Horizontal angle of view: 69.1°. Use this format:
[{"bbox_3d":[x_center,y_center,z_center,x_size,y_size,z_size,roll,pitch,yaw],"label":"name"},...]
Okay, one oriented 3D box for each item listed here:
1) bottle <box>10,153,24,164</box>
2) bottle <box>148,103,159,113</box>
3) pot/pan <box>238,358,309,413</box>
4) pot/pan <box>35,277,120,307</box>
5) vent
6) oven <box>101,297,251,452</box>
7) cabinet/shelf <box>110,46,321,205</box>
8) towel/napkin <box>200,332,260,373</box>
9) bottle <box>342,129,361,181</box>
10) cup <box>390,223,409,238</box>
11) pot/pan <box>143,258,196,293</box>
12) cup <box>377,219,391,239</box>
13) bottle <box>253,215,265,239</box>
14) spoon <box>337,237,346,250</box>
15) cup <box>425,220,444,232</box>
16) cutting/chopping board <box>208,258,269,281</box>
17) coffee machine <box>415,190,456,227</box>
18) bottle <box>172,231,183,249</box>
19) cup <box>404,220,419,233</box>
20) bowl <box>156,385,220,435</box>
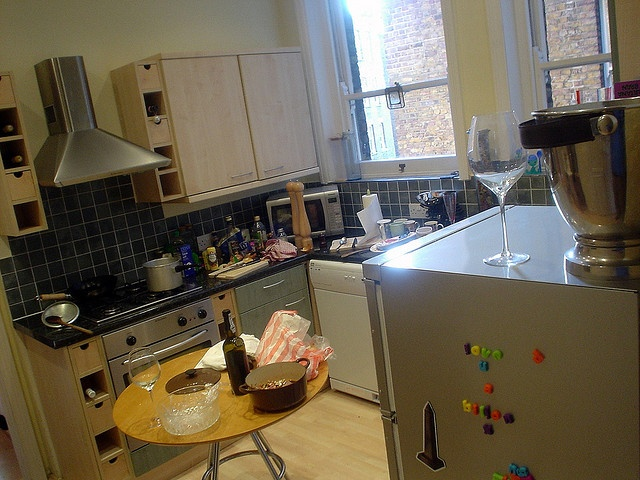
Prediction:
[{"bbox_3d":[-1.728,-0.463,2.645,0.050,0.041,0.052,0,17,0],"label":"bottle"},{"bbox_3d":[-1.129,-0.887,3.121,0.043,0.067,0.019,1,-3,-6],"label":"bottle"},{"bbox_3d":[-0.173,0.547,1.771,0.165,0.093,0.229,9,16,41],"label":"pot/pan"},{"bbox_3d":[-1.528,0.333,2.930,0.436,0.152,0.376,-17,8,-39],"label":"pot/pan"},{"bbox_3d":[-1.367,-0.663,2.850,0.801,0.732,0.751,-19,12,-34],"label":"vent"},{"bbox_3d":[-1.011,0.678,3.244,0.709,1.139,0.783,-1,15,43],"label":"oven"},{"bbox_3d":[-0.786,-0.825,3.305,0.358,0.796,1.104,7,17,42],"label":"cabinet/shelf"},{"bbox_3d":[-0.424,0.517,2.098,0.190,0.065,0.205,4,11,26],"label":"towel/napkin"},{"bbox_3d":[0.268,-0.728,4.022,0.144,0.400,0.098,-10,7,2],"label":"bottle"},{"bbox_3d":[0.556,-0.069,3.283,0.092,0.093,0.119,0,2,24],"label":"cup"},{"bbox_3d":[-0.992,0.223,3.040,0.329,0.150,0.184,3,9,30],"label":"pot/pan"},{"bbox_3d":[0.462,-0.079,3.385,0.086,0.137,0.129,4,14,29],"label":"cup"},{"bbox_3d":[-0.493,-0.089,3.697,0.092,0.201,0.175,-11,7,0],"label":"bottle"},{"bbox_3d":[0.150,0.022,3.429,0.036,0.038,0.140,2,31,25],"label":"spoon"},{"bbox_3d":[0.809,-0.108,3.294,0.150,0.109,0.099,-2,8,13],"label":"cup"},{"bbox_3d":[-0.537,0.199,3.291,0.171,0.034,0.305,0,17,38],"label":"cutting/chopping board"},{"bbox_3d":[0.821,-0.220,3.230,0.233,0.189,0.242,-5,2,-30],"label":"coffee machine"},{"bbox_3d":[-1.064,-0.013,3.442,0.081,0.101,0.166,-13,7,-18],"label":"bottle"},{"bbox_3d":[0.648,-0.095,3.386,0.099,0.102,0.070,-5,4,-31],"label":"cup"},{"bbox_3d":[-0.494,0.642,1.781,0.223,0.135,0.179,-13,7,-12],"label":"bowl"}]
